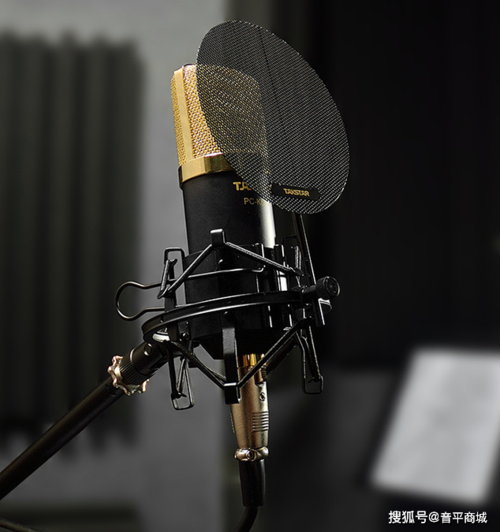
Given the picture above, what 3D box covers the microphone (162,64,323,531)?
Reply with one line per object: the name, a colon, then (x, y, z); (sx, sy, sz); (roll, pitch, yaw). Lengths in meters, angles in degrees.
microphone: (-0.024, 0.046, 1.204); (0.134, 0.672, 0.199); (-4, 10, -21)
